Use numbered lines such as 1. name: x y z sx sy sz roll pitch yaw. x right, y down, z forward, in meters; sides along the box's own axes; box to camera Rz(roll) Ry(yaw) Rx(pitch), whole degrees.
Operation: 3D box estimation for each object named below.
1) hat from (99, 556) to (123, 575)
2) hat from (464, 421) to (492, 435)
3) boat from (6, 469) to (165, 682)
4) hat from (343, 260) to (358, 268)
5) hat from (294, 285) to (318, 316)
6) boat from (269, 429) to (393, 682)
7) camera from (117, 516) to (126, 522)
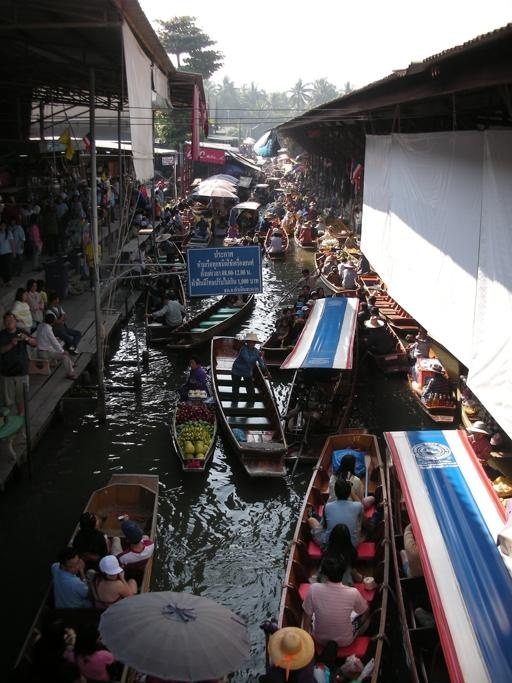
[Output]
1. hat: -1.382 2.114 4.581 0.206 0.124 0.152 12 27 37
2. hat: 3.779 1.461 8.209 0.283 0.109 0.252 5 3 -15
3. boat: -1.944 2.522 6.002 0.709 0.445 3.390 7 25 3
4. hat: 3.879 -3.195 20.063 0.601 0.165 0.602 0 15 -7
5. hat: 1.518 -1.169 14.990 0.403 0.478 1.384 7 45 13
6. boat: 1.143 2.294 6.335 0.753 0.492 3.614 -1 27 12
7. camera: -1.831 2.421 6.642 0.078 0.021 0.089 -4 19 -6
